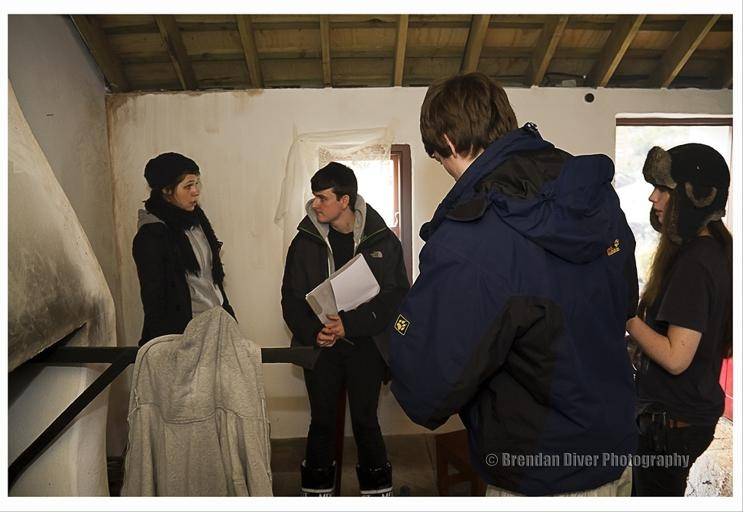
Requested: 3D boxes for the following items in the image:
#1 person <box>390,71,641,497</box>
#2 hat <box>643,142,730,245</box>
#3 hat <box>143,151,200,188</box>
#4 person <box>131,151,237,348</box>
[{"bbox_3d":[0.523,0.205,2.026,0.915,1.437,0.286,-2,0,-9],"label":"person"},{"bbox_3d":[1.449,-0.306,2.608,0.399,0.459,0.369,-9,12,-26],"label":"hat"},{"bbox_3d":[-1.343,-0.580,3.787,0.290,0.121,0.245,-18,6,2],"label":"hat"},{"bbox_3d":[-1.252,-0.081,3.723,0.605,0.973,0.328,-2,-1,-24],"label":"person"}]
